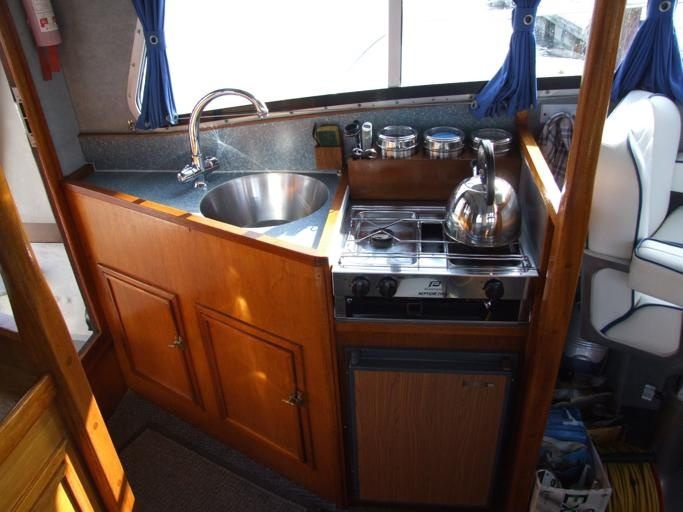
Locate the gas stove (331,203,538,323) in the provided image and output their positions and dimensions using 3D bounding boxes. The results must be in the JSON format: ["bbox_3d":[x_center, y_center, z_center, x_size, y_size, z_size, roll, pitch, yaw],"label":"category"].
[{"bbox_3d":[0.315,0.010,1.913,0.667,0.228,0.535,1,27,3],"label":"gas stove"}]

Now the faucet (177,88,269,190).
[{"bbox_3d":[-0.494,-0.471,2.155,0.339,0.437,0.261,10,30,12],"label":"faucet"}]

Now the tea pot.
[{"bbox_3d":[0.429,-0.200,1.717,0.250,0.307,0.356,-1,54,8],"label":"tea pot"}]
